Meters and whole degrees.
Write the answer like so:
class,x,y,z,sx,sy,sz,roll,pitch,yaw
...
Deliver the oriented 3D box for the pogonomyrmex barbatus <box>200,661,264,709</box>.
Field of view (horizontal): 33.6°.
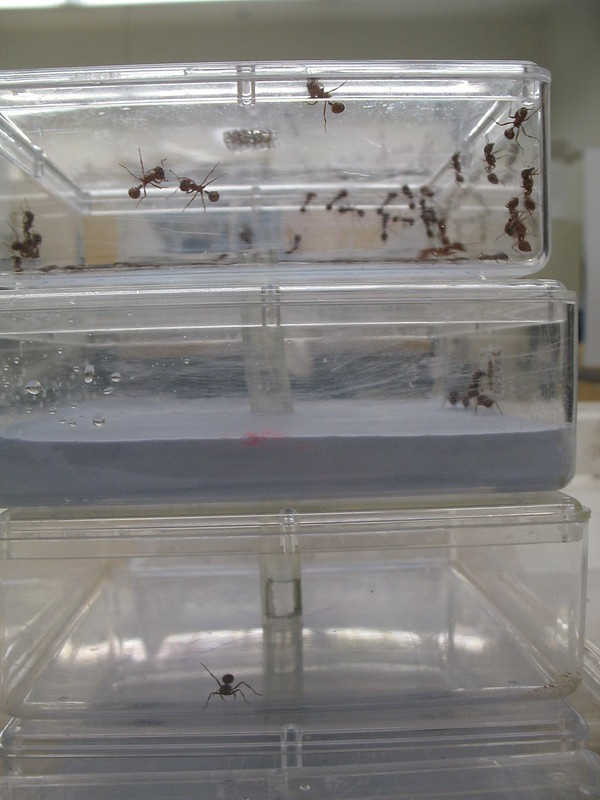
class,x,y,z,sx,sy,sz,roll,pitch,yaw
pogonomyrmex barbatus,-0.092,0.385,1.324,0.053,0.058,0.017,5,-60,-7
